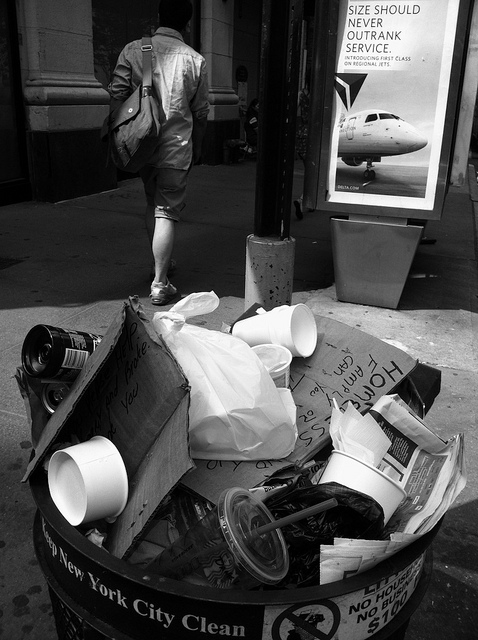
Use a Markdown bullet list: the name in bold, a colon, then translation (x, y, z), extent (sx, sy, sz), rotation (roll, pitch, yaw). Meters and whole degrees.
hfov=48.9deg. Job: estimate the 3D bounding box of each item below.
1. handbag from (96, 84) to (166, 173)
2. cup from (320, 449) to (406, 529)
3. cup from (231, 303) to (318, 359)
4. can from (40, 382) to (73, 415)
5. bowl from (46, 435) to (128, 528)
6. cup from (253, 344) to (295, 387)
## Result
- **handbag**: translation (-0.730, -1.395, 3.800), extent (0.394, 0.558, 0.527), rotation (-10, 28, -25)
- **cup**: translation (0.291, 0.337, 1.198), extent (0.164, 0.187, 0.133), rotation (21, 54, 34)
- **cup**: translation (0.137, -0.009, 1.942), extent (0.287, 0.236, 0.239), rotation (1, 52, 17)
- **can**: translation (-0.514, 0.205, 1.472), extent (0.082, 0.085, 0.058), rotation (-9, 27, -24)
- **bowl**: translation (-0.335, 0.343, 1.157), extent (0.146, 0.137, 0.176), rotation (-15, 31, -33)
- **cup**: translation (0.118, 0.121, 1.666), extent (0.114, 0.103, 0.127), rotation (-11, 32, -12)
